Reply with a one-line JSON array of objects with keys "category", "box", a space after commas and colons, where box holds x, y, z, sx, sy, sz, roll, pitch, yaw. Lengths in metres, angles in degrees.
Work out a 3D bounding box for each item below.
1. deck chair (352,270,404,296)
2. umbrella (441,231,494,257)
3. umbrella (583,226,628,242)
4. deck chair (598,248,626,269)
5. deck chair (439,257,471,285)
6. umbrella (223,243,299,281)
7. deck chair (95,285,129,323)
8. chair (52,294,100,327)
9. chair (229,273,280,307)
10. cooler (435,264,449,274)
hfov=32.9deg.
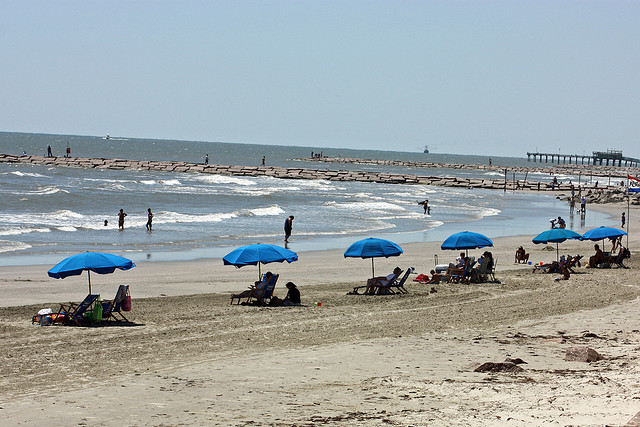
[{"category": "deck chair", "box": [1.732, 2.244, 34.241, 1.733, 0.703, 0.638, 0, -1, 1]}, {"category": "umbrella", "box": [4.866, 0.968, 36.312, 0.987, 0.567, 0.906, -2, 1, -38]}, {"category": "umbrella", "box": [9.759, 0.661, 37.559, 0.911, 0.276, 0.843, -3, -4, -19]}, {"category": "deck chair", "box": [10.326, 1.617, 38.274, 0.940, 0.461, 0.588, -4, 12, -13]}, {"category": "deck chair", "box": [4.477, 1.951, 35.971, 0.965, 0.689, 0.560, 2, -2, 13]}, {"category": "umbrella", "box": [-1.919, 1.443, 33.761, 2.367, 1.087, 2.153, -3, 7, -10]}, {"category": "deck chair", "box": [-5.968, 2.599, 30.950, 0.944, 0.966, 0.755, -3, -6, 11]}, {"category": "chair", "box": [-6.846, 2.700, 30.395, 1.134, 0.715, 0.953, 0, 12, 4]}, {"category": "chair", "box": [-1.985, 2.302, 32.816, 1.428, 0.834, 0.910, -3, 12, -8]}, {"category": "cooler", "box": [4.064, 1.816, 36.600, 0.437, 0.235, 0.283, -1, -2, 2]}]
